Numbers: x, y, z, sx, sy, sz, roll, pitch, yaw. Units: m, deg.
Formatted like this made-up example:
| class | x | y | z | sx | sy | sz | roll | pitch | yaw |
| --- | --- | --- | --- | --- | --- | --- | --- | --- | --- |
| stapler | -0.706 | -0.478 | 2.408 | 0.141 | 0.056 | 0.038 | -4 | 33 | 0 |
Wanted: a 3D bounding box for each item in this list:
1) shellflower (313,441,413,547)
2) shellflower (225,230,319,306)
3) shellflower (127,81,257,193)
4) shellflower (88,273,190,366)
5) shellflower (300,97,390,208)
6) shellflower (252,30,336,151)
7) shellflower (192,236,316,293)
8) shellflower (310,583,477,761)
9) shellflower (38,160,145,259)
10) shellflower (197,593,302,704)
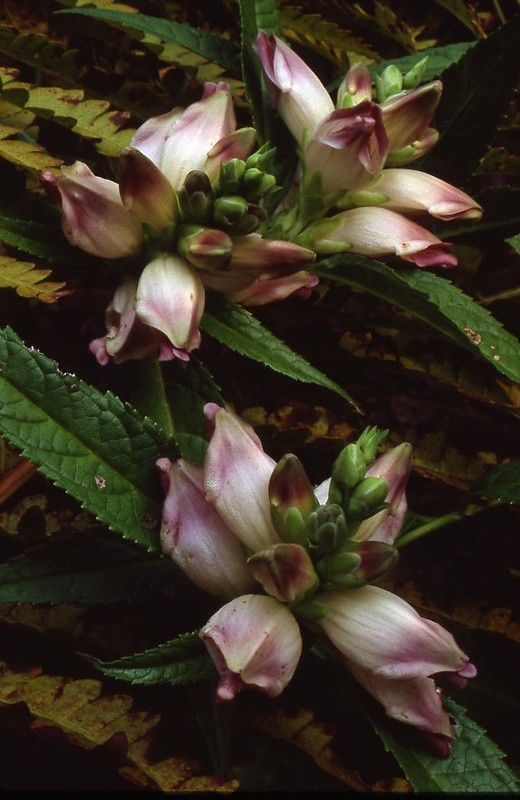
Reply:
| class | x | y | z | sx | sy | sz | roll | pitch | yaw |
| --- | --- | --- | --- | --- | --- | --- | --- | --- | --- |
| shellflower | 0.087 | 0.056 | 0.572 | 0.081 | 0.101 | 0.033 | -14 | 47 | -14 |
| shellflower | 0.011 | -0.114 | 0.621 | 0.060 | 0.019 | 0.049 | 1 | 43 | 24 |
| shellflower | -0.055 | -0.214 | 0.627 | 0.122 | 0.045 | 0.097 | -7 | 42 | -11 |
| shellflower | -0.095 | -0.064 | 0.591 | 0.084 | 0.072 | 0.032 | 10 | -15 | -39 |
| shellflower | 0.071 | -0.209 | 0.618 | 0.066 | 0.083 | 0.057 | 9 | 29 | -1 |
| shellflower | 0.011 | -0.287 | 0.691 | 0.058 | 0.045 | 0.142 | 36 | 27 | -44 |
| shellflower | -0.011 | -0.113 | 0.611 | 0.119 | 0.043 | 0.042 | 11 | 35 | 26 |
| shellflower | 0.088 | 0.176 | 0.507 | 0.137 | 0.078 | 0.048 | 33 | -6 | 5 |
| shellflower | -0.136 | -0.156 | 0.610 | 0.084 | 0.063 | 0.026 | 36 | -8 | -10 |
| shellflower | -0.006 | 0.163 | 0.492 | 0.066 | 0.026 | 0.075 | 27 | 53 | 5 |
